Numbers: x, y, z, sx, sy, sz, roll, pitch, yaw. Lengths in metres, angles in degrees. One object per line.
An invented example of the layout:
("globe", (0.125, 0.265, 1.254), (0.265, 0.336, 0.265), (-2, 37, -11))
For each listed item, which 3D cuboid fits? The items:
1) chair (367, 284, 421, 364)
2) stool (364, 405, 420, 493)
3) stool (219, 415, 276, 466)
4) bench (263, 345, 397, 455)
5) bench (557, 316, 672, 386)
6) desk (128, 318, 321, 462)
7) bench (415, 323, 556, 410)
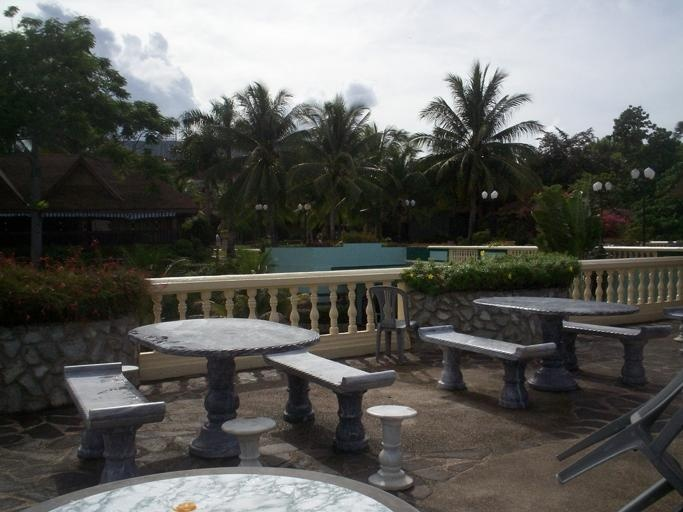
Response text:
("chair", (0.916, 1.066, 8.706), (0.704, 1.294, 0.786), (7, -15, -29))
("stool", (0.425, 1.716, 4.718), (0.492, 0.614, 0.483), (10, -13, -39))
("stool", (-0.830, 1.670, 4.576), (0.485, 0.389, 0.505), (3, -10, -17))
("bench", (-0.178, 1.514, 5.691), (0.530, 0.791, 1.831), (-2, 1, -33))
("bench", (3.805, 1.372, 7.798), (0.556, 0.818, 1.827), (-6, 0, -27))
("desk", (-1.302, 1.452, 5.539), (1.924, 1.132, 1.695), (-7, -20, 17))
("bench", (1.834, 1.436, 6.879), (0.619, 0.823, 1.875), (0, 0, -30))
